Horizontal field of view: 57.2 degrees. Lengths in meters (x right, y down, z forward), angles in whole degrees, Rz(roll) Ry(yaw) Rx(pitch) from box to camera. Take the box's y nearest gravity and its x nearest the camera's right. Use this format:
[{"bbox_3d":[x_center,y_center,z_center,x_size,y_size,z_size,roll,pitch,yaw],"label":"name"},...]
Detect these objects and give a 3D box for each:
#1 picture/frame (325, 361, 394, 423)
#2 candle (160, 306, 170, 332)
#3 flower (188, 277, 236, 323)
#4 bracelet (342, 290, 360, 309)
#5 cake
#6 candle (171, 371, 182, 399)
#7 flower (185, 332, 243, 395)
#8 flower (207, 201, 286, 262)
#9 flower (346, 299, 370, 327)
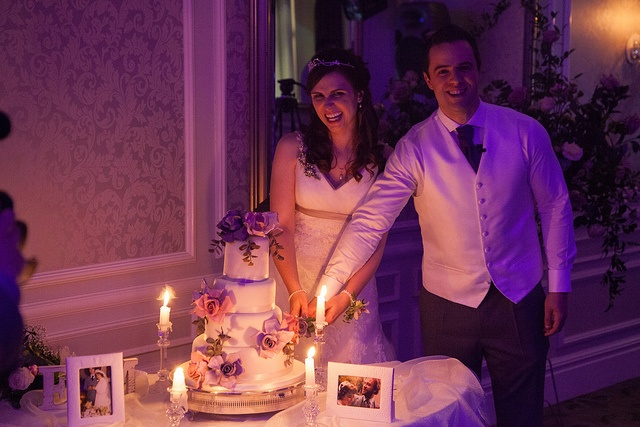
[{"bbox_3d":[0.221,1.027,3.330,0.265,0.257,0.101,1,-13,8],"label":"picture/frame"},{"bbox_3d":[-0.967,0.636,3.643,0.068,0.152,0.171,-4,6,-15],"label":"candle"},{"bbox_3d":[-0.625,0.532,3.426,0.227,0.235,0.104,20,-7,14],"label":"flower"},{"bbox_3d":[0.207,0.564,3.892,0.039,0.092,0.071,-43,-21,19],"label":"bracelet"},{"bbox_3d":[-0.430,0.568,3.850,0.900,1.302,0.864,1,-6,-6],"label":"cake"},{"bbox_3d":[-0.748,0.889,3.075,0.063,0.138,0.089,-4,6,-15],"label":"candle"},{"bbox_3d":[-0.620,0.855,3.399,0.312,0.295,0.144,-1,6,16],"label":"flower"},{"bbox_3d":[-0.448,0.107,3.714,0.405,0.333,0.420,0,-3,1],"label":"flower"},{"bbox_3d":[0.243,0.606,3.769,0.066,0.194,0.183,32,26,20],"label":"flower"}]
